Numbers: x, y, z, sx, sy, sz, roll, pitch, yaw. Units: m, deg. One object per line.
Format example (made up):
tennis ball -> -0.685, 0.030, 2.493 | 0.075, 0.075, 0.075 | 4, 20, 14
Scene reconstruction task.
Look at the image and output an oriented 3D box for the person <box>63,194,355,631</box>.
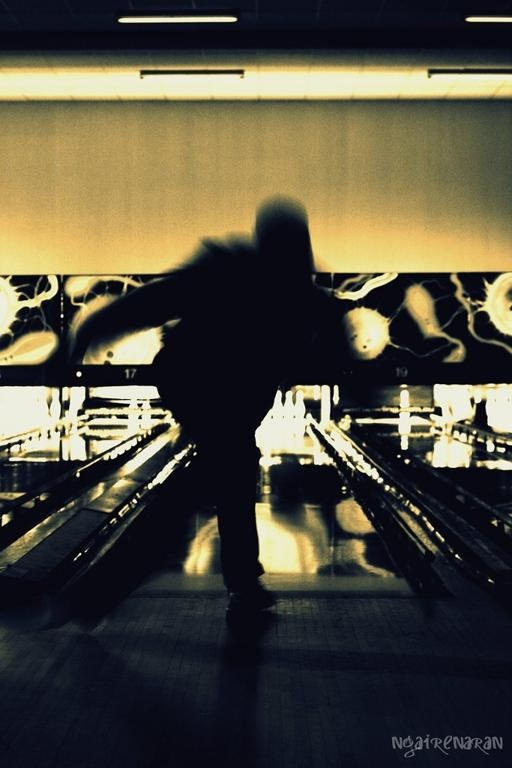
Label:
person -> -0.061, 0.047, 2.002 | 0.551, 1.228, 0.431 | 1, 11, 6
